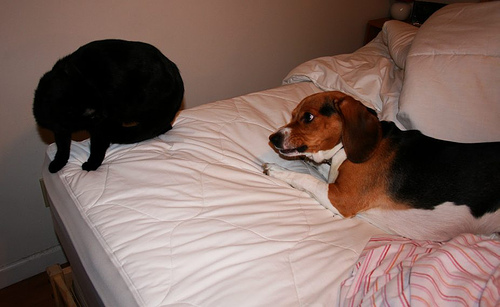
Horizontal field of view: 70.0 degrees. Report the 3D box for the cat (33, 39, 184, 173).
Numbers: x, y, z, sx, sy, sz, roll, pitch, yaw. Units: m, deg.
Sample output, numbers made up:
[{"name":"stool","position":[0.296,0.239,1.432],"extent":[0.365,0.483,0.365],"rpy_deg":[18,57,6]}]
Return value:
[{"name":"cat","position":[-0.877,-0.354,2.311],"extent":[0.930,0.600,0.544],"rpy_deg":[-23,29,-21]}]
